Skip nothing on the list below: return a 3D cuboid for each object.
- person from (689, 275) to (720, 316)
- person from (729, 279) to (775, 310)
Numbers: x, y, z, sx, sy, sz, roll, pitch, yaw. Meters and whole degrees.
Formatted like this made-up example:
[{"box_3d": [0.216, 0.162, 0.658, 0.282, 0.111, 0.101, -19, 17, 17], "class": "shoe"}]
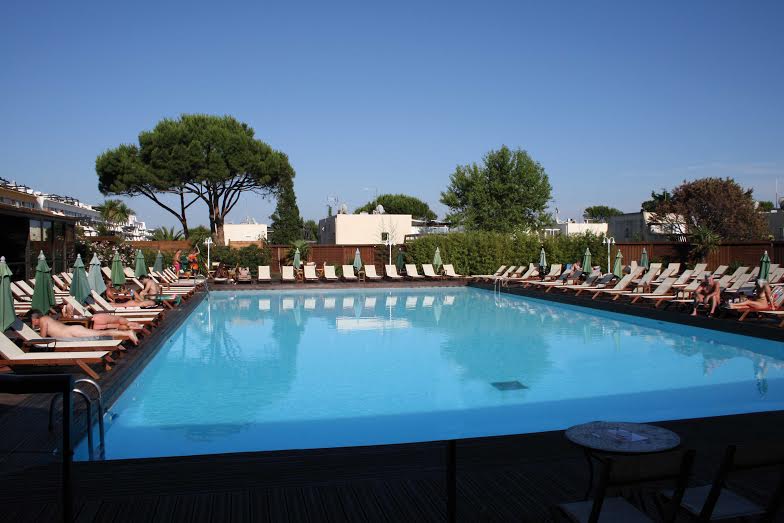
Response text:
[{"box_3d": [8.652, 0.899, 14.484, 1.013, 1.038, 0.574, -11, 8, -39], "class": "person"}, {"box_3d": [9.291, 0.892, 13.561, 1.155, 0.789, 0.690, -4, -2, 11], "class": "person"}]
